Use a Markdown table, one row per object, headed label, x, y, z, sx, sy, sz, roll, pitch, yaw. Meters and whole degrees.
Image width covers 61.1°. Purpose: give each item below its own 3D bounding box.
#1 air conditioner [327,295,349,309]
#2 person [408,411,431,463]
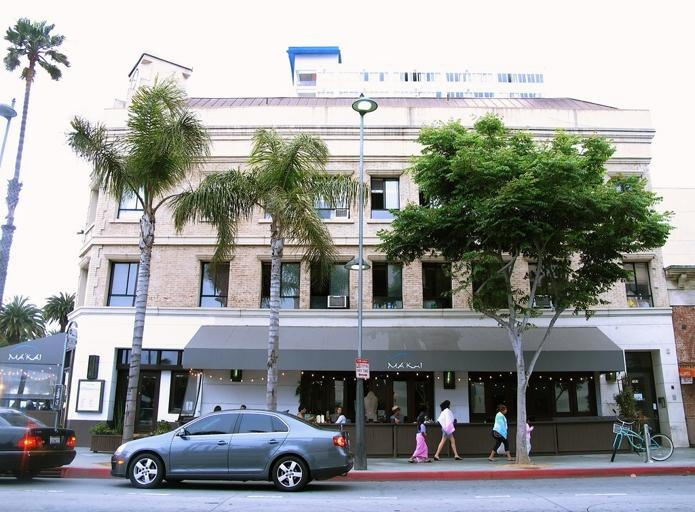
| label | x | y | z | sx | sy | sz | roll | pitch | yaw |
| --- | --- | --- | --- | --- | --- | --- | --- | --- | --- |
| air conditioner | -0.408 | 2.015 | 26.240 | 0.892 | 0.624 | 0.509 | 0 | -13 | -1 |
| person | 2.740 | 6.692 | 22.109 | 0.653 | 1.751 | 1.511 | -1 | -12 | 8 |
